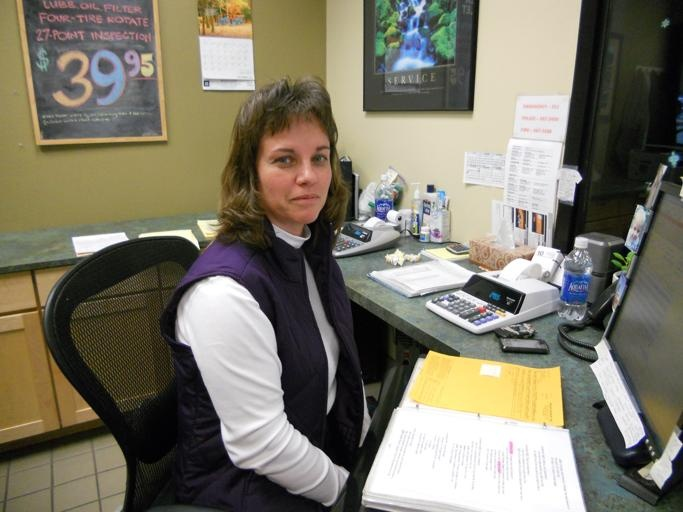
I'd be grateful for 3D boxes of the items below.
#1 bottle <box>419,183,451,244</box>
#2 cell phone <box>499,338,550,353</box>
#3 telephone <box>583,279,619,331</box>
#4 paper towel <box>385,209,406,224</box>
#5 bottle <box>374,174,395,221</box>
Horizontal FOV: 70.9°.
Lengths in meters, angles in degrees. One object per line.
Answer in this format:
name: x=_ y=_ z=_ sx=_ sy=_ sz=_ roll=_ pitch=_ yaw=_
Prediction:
bottle: x=0.492 y=-0.222 z=2.514 sx=0.098 sy=0.356 sz=0.229 roll=-8 pitch=15 yaw=-27
cell phone: x=0.586 y=0.276 z=1.535 sx=0.104 sy=0.030 sz=0.061 roll=0 pitch=16 yaw=7
telephone: x=0.879 y=0.175 z=1.623 sx=0.057 sy=0.191 sz=0.100 roll=8 pitch=14 yaw=3
paper towel: x=0.295 y=-0.233 z=2.667 sx=0.069 sy=0.080 sz=0.089 roll=-8 pitch=13 yaw=-24
bottle: x=0.235 y=-0.336 z=2.740 sx=0.119 sy=0.235 sz=0.159 roll=3 pitch=20 yaw=11
